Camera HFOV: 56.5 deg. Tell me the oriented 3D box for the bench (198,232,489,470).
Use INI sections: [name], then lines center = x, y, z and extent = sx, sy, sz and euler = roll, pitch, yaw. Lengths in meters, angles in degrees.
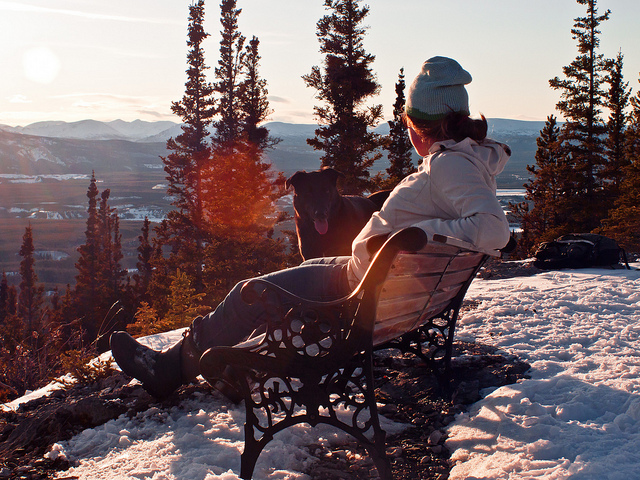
[bench]
center = 0.211, 0.716, 4.329
extent = 1.952, 1.698, 1.479
euler = -3, 9, -42
